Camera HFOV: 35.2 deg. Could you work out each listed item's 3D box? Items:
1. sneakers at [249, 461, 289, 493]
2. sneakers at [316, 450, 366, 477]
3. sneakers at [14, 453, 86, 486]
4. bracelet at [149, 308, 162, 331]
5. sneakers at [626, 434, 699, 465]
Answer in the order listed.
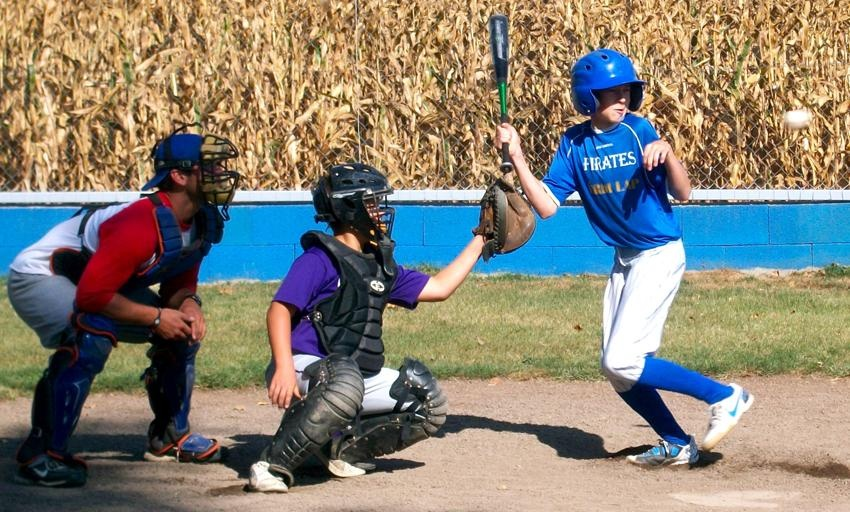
[{"bbox_3d":[-1.439,2.020,12.260,0.225,0.157,0.351,3,-4,-37],"label":"sneakers"},{"bbox_3d":[-0.779,1.956,12.609,0.550,0.213,0.185,0,5,9],"label":"sneakers"},{"bbox_3d":[-3.371,1.952,12.196,0.622,0.281,0.286,-1,4,10],"label":"sneakers"},{"bbox_3d":[-2.483,0.575,12.382,0.082,0.180,0.053,1,8,-17],"label":"bracelet"},{"bbox_3d":[2.303,1.882,12.969,0.665,0.258,0.252,2,-6,-3],"label":"sneakers"}]
